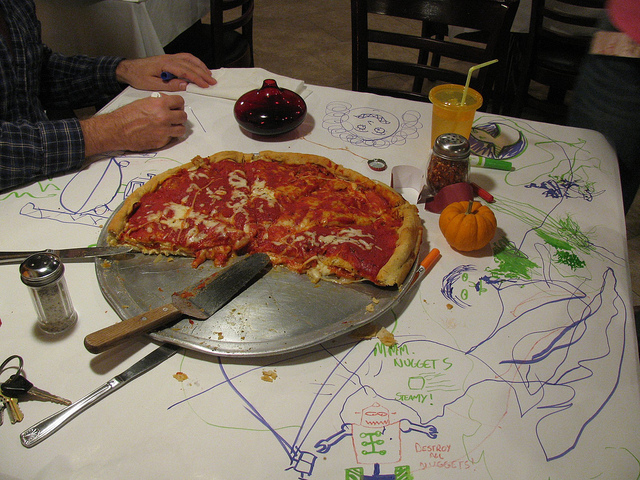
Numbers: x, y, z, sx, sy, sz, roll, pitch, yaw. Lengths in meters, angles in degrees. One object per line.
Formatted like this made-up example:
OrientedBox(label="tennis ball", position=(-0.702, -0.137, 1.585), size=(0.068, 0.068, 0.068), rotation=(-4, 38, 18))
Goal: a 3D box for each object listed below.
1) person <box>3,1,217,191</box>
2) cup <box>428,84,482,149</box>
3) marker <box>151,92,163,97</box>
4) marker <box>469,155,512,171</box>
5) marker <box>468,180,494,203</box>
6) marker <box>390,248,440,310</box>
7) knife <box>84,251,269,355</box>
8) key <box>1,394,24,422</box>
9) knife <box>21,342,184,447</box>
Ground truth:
OrientedBox(label="person", position=(-0.770, -0.534, 2.276), size=(0.877, 0.835, 0.711), rotation=(-5, 75, -15))
OrientedBox(label="cup", position=(0.467, -0.410, 1.880), size=(0.178, 0.179, 0.169), rotation=(4, 33, -3))
OrientedBox(label="marker", position=(-0.644, -0.580, 2.121), size=(0.036, 0.011, 0.049), rotation=(24, 32, 35))
OrientedBox(label="marker", position=(0.594, -0.270, 1.866), size=(0.189, 0.037, 0.035), rotation=(11, 50, -6))
OrientedBox(label="marker", position=(0.527, -0.157, 1.750), size=(0.029, 0.029, 0.119), rotation=(-44, 40, -5))
OrientedBox(label="marker", position=(0.288, 0.088, 1.537), size=(0.023, 0.023, 0.208), rotation=(13, 43, 38))
OrientedBox(label="knife", position=(-0.308, 0.145, 1.441), size=(0.162, 0.052, 0.638), rotation=(28, 33, 33))
OrientedBox(label="key", position=(-0.719, 0.401, 1.272), size=(0.039, 0.003, 0.065), rotation=(-15, 76, -37))
OrientedBox(label="knife", position=(-0.529, 0.384, 1.291), size=(0.428, 0.018, 0.059), rotation=(-30, 45, -30))
